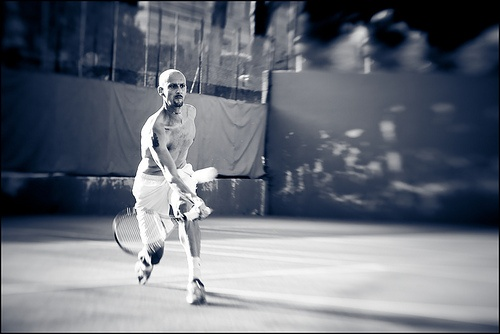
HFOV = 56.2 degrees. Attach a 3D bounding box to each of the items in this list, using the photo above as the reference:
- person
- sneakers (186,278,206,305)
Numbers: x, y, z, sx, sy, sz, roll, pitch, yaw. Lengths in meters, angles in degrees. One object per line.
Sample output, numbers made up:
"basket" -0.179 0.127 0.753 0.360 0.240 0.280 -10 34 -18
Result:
"person" -0.945 0.209 5.676 0.880 2.741 0.923 1 12 -16
"sneakers" -0.637 1.485 5.566 0.233 0.289 0.122 3 11 -5
